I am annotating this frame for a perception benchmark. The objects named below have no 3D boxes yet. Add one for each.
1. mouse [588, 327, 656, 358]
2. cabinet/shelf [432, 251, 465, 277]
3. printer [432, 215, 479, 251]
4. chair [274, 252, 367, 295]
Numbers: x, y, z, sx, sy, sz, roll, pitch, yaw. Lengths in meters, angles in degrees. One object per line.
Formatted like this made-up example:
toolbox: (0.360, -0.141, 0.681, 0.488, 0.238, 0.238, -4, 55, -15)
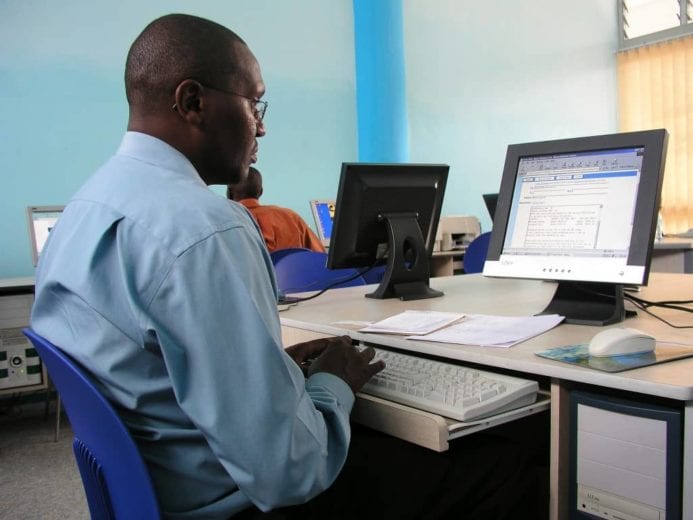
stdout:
mouse: (0.569, 0.160, 1.074, 0.108, 0.039, 0.064, -4, 3, -21)
cabinet/shelf: (0.901, 0.020, 4.622, 0.166, 0.227, 0.227, 0, 0, -40)
printer: (1.001, -0.274, 5.063, 0.586, 0.420, 0.415, -6, 4, -40)
chair: (-0.163, 0.057, 2.302, 0.238, 0.257, 0.230, -1, 1, -22)
